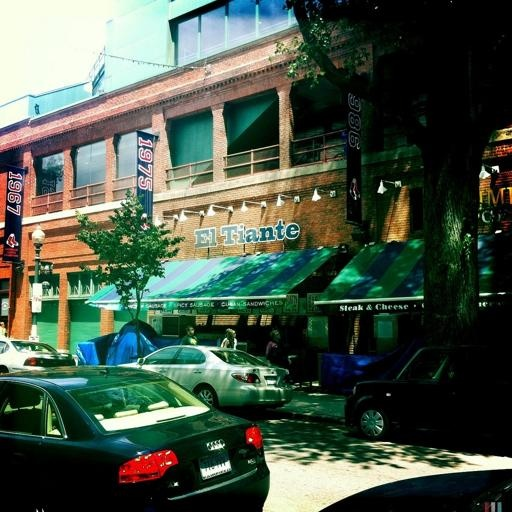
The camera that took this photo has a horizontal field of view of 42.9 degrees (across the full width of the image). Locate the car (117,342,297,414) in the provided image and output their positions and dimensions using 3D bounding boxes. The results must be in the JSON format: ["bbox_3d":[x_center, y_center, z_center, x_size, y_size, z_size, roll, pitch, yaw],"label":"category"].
[{"bbox_3d":[-0.992,2.368,13.236,3.377,0.966,1.430,0,-5,34],"label":"car"}]
